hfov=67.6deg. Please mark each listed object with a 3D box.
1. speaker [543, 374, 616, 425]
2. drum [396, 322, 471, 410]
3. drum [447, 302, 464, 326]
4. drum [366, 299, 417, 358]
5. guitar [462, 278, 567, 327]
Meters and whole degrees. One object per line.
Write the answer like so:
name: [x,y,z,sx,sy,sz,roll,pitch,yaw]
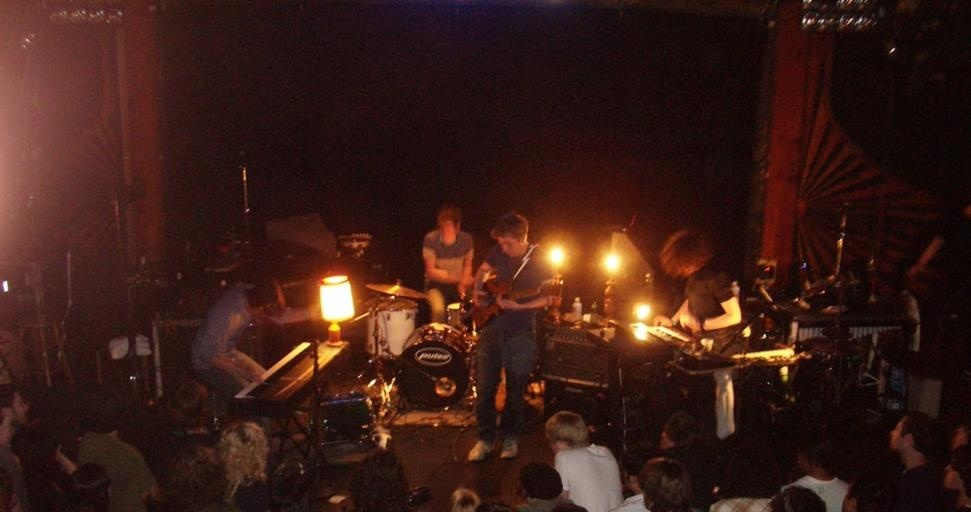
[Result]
speaker: [1.700,2.614,13.058,1.295,0.738,0.843,2,-4,33]
drum: [-0.979,2.062,13.820,1.210,1.561,1.265,1,0,0]
drum: [-0.618,1.179,14.217,0.458,0.420,0.422,-2,-4,17]
drum: [-1.883,1.434,14.387,1.019,1.020,1.028,1,10,0]
guitar: [0.286,0.881,12.867,1.674,0.677,0.245,-5,-24,35]
